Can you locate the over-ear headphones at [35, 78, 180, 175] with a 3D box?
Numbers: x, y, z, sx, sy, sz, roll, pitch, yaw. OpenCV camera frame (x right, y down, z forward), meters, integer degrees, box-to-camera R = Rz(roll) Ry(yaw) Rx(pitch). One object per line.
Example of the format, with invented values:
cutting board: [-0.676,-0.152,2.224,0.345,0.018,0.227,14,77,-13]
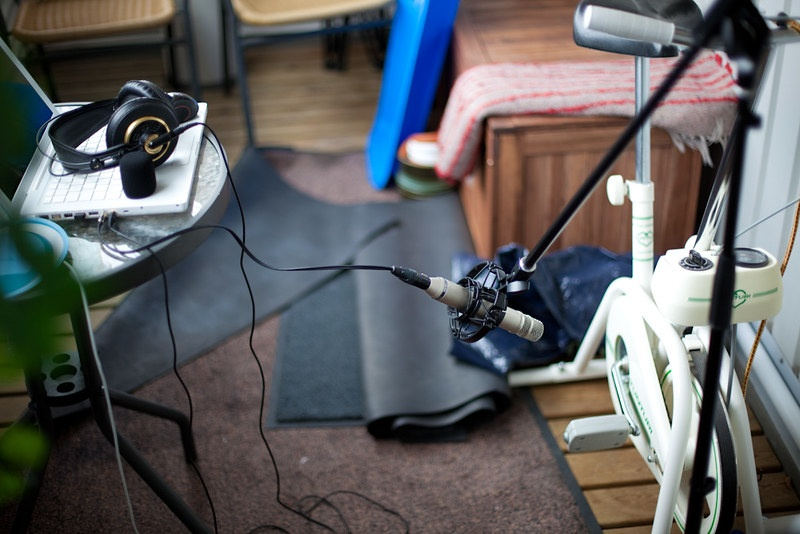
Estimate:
over-ear headphones: [-0.651,-0.333,1.484,0.256,0.117,0.240,-23,34,-7]

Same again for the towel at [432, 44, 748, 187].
towel: [0.582,-0.521,2.002,0.762,0.216,0.520,-6,68,6]

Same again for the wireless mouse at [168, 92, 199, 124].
wireless mouse: [-0.542,-0.405,1.591,0.093,0.036,0.056,-2,80,-37]

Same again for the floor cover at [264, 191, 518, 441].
floor cover: [-0.061,0.178,2.137,0.671,0.233,0.985,4,30,-10]
